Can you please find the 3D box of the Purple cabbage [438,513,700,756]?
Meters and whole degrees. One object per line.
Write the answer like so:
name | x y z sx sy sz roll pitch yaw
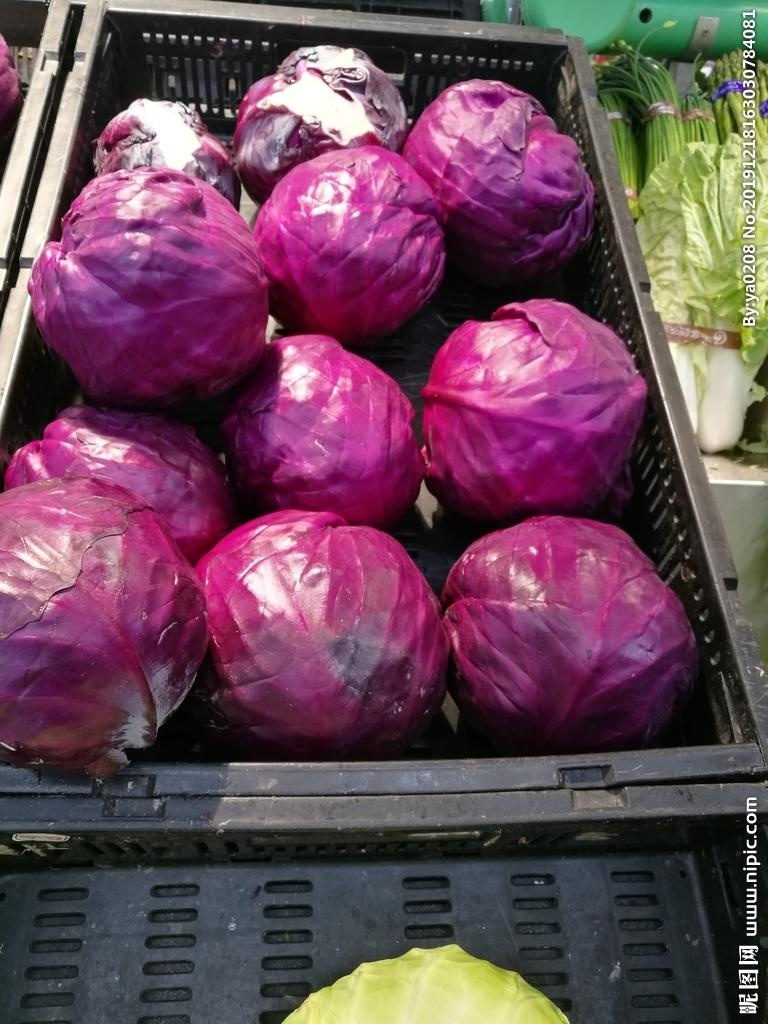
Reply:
Purple cabbage | 0.279 0.195 1.358 0.318 0.326 0.380 7 13 13

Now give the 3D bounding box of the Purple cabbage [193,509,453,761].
Purple cabbage | -0.125 0.153 1.390 0.304 0.380 0.299 -8 -4 -27

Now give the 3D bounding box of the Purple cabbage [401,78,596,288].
Purple cabbage | 0.233 -0.685 1.960 0.347 0.357 0.415 -40 63 -15

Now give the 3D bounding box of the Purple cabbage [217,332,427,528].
Purple cabbage | -0.131 -0.147 1.658 0.303 0.335 0.389 -4 11 20

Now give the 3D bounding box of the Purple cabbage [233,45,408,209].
Purple cabbage | -0.160 -0.796 1.912 0.331 0.333 0.285 -33 55 -28

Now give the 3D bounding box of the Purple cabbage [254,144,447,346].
Purple cabbage | -0.061 -0.517 1.795 0.296 0.342 0.383 12 19 14

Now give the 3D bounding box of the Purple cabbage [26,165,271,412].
Purple cabbage | -0.372 -0.361 1.490 0.380 0.346 0.303 -6 29 -45

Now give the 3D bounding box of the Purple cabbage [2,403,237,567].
Purple cabbage | -0.415 -0.057 1.483 0.300 0.245 0.240 14 24 -46
